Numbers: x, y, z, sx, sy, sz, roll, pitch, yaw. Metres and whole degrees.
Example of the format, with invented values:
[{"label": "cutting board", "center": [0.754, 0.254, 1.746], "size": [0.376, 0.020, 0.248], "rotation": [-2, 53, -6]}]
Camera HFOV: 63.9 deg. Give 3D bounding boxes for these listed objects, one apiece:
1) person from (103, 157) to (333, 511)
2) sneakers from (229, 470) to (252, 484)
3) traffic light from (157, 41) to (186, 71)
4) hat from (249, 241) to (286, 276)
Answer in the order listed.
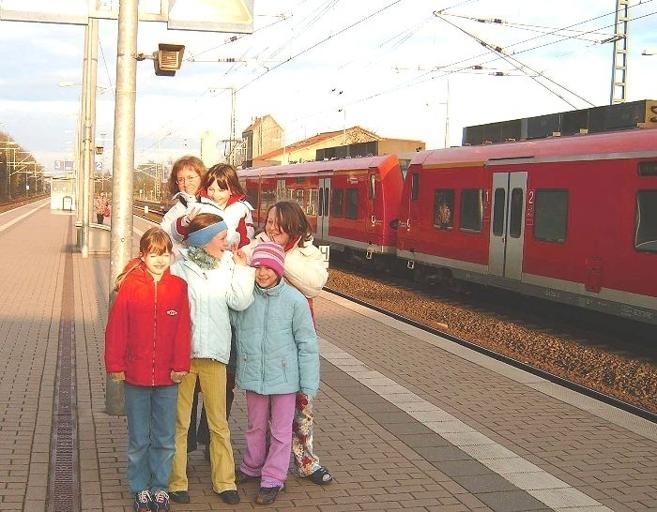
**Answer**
[{"label": "person", "center": [-0.801, 0.415, 3.998], "size": [1.489, 2.406, 1.163], "rotation": [1, 2, -23]}, {"label": "sneakers", "center": [-0.632, 1.599, 3.815], "size": [0.151, 0.074, 0.061], "rotation": [8, -4, -12]}, {"label": "traffic light", "center": [-1.744, -2.212, 5.833], "size": [0.271, 0.243, 0.248], "rotation": [2, 2, -18]}, {"label": "hat", "center": [-0.397, 0.004, 3.564], "size": [0.177, 0.214, 0.239], "rotation": [9, 4, 8]}]
